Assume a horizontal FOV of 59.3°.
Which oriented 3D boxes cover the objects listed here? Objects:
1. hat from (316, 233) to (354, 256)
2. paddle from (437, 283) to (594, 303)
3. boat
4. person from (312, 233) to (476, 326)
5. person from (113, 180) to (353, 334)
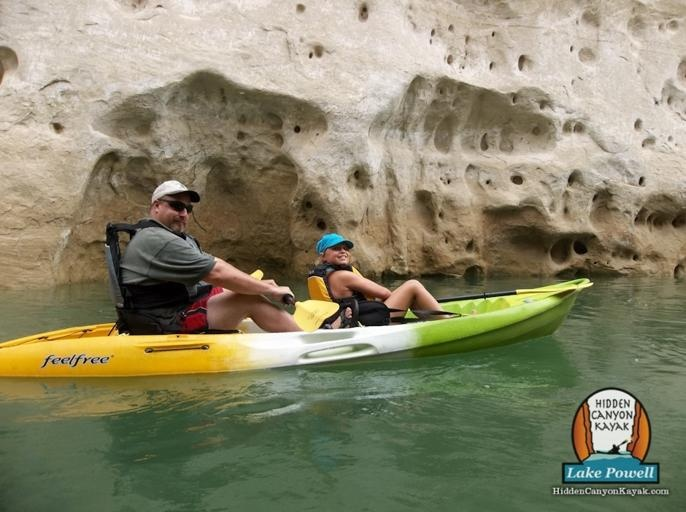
[{"bbox_3d":[-0.141,-0.117,5.550,0.356,0.126,0.245,-14,-5,35],"label":"hat"},{"bbox_3d":[2.012,0.434,7.094,1.713,0.138,0.143,-5,34,1],"label":"paddle"},{"bbox_3d":[-0.360,0.629,5.150,3.638,0.334,0.776,-2,-2,-14],"label":"boat"},{"bbox_3d":[0.389,0.246,5.753,1.715,0.719,0.654,2,0,-27],"label":"person"},{"bbox_3d":[-0.767,0.145,5.112,2.076,0.846,0.895,0,1,-10],"label":"person"}]
